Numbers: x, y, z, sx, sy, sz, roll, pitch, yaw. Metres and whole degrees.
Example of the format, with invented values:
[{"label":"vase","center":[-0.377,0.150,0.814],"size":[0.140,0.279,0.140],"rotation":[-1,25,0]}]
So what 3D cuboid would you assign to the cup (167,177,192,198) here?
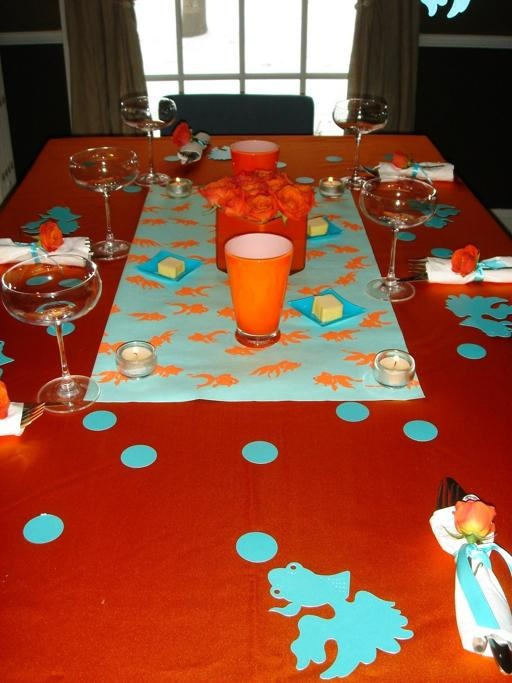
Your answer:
[{"label":"cup","center":[-0.218,-0.452,1.558],"size":[0.067,0.052,0.062],"rotation":[1,35,-1]}]

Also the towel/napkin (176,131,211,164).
[{"label":"towel/napkin","center":[-0.201,-0.637,1.791],"size":[0.067,0.073,0.161],"rotation":[1,30,15]}]

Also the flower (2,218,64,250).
[{"label":"flower","center":[-0.476,-0.215,1.163],"size":[0.137,0.072,0.069],"rotation":[-5,75,12]}]

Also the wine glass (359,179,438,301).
[{"label":"wine glass","center":[0.311,-0.214,1.168],"size":[0.193,0.275,0.180],"rotation":[8,39,11]}]

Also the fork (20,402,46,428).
[{"label":"fork","center":[-0.313,0.103,0.753],"size":[0.011,0.008,0.059],"rotation":[8,21,8]}]

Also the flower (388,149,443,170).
[{"label":"flower","center":[0.485,-0.552,1.681],"size":[0.166,0.063,0.085],"rotation":[5,22,0]}]

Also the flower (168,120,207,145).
[{"label":"flower","center":[-0.227,-0.701,1.846],"size":[0.080,0.074,0.145],"rotation":[28,28,37]}]

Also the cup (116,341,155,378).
[{"label":"cup","center":[-0.189,0.030,0.877],"size":[0.063,0.041,0.059],"rotation":[1,35,-1]}]

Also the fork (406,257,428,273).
[{"label":"fork","center":[0.361,-0.168,1.198],"size":[0.044,0.012,0.041],"rotation":[1,40,13]}]

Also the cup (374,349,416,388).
[{"label":"cup","center":[0.217,0.041,0.841],"size":[0.062,0.042,0.061],"rotation":[-1,36,1]}]

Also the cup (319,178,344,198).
[{"label":"cup","center":[0.220,-0.440,1.558],"size":[0.060,0.041,0.058],"rotation":[-1,38,1]}]
